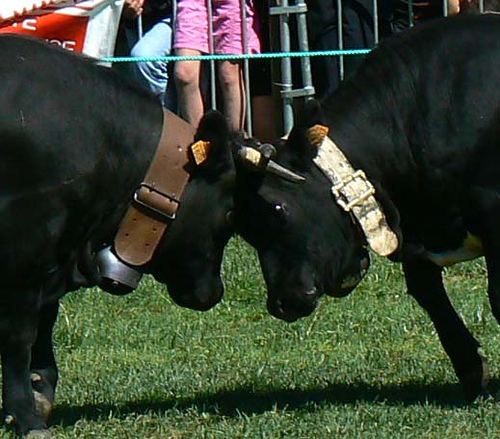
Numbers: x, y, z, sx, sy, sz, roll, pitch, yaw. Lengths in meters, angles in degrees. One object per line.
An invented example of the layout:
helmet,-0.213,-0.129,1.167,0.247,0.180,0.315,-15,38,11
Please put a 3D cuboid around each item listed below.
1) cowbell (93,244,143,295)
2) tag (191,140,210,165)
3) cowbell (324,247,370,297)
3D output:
cowbell,-0.424,0.176,2.564,0.171,0.141,0.127,1,-3,-7
tag,-0.157,-0.212,2.485,0.067,0.064,0.017,-22,23,-37
cowbell,0.344,0.191,2.668,0.169,0.063,0.129,-45,17,5
